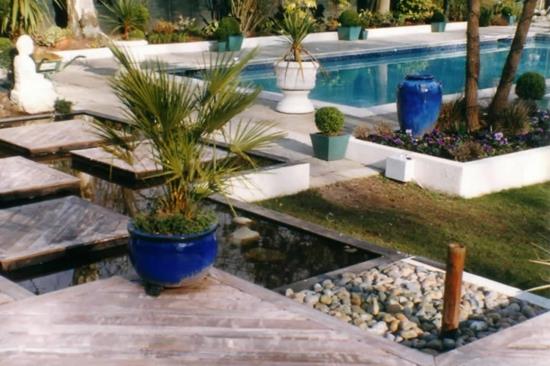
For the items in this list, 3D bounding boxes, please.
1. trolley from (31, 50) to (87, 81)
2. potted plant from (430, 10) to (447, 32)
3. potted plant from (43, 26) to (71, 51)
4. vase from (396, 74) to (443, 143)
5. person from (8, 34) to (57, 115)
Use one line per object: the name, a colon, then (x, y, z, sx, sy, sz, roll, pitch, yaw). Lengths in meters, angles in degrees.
trolley: (-5.475, -2.898, 13.235, 1.019, 0.581, 0.855, 0, 3, 16)
potted plant: (8.975, -9.053, 29.471, 0.998, 1.264, 1.134, 6, 19, 18)
potted plant: (-8.328, -5.670, 20.236, 0.860, 0.416, 0.959, 2, 33, -1)
vase: (2.595, -1.407, 9.584, 0.731, 1.039, 0.369, 5, 27, 12)
person: (-5.521, -2.485, 11.859, 0.889, 1.656, 0.986, -21, 32, -35)
